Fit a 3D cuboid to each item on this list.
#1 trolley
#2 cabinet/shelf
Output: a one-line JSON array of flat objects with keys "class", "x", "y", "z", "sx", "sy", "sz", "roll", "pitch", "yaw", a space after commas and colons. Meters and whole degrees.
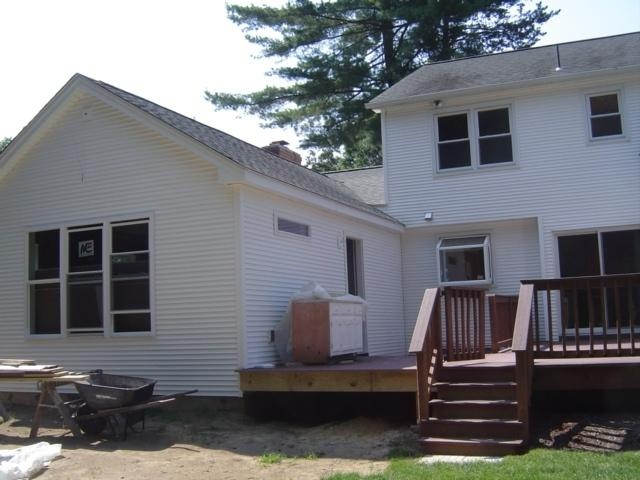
[{"class": "trolley", "x": -3.216, "y": 2.845, "z": 10.963, "sx": 2.225, "sy": 0.993, "sz": 0.948, "roll": 0, "pitch": -2, "yaw": 16}, {"class": "cabinet/shelf", "x": 0.204, "y": 1.765, "z": 12.883, "sx": 1.598, "sy": 1.301, "sz": 0.787, "roll": -5, "pitch": 2, "yaw": -43}]
